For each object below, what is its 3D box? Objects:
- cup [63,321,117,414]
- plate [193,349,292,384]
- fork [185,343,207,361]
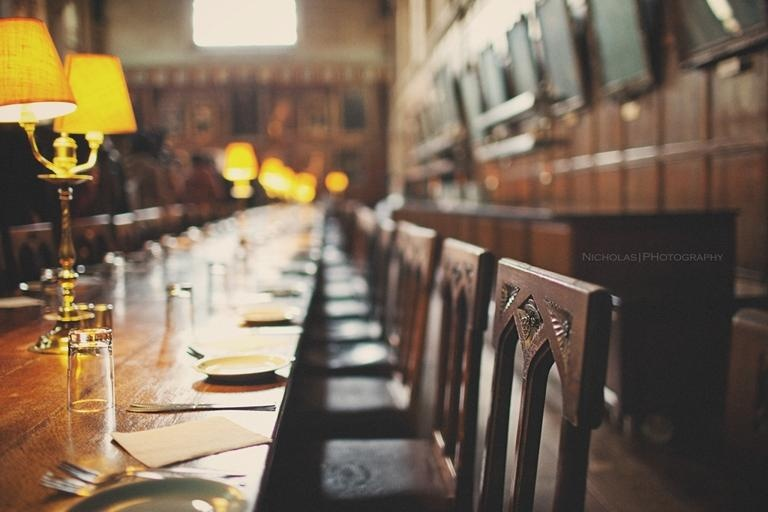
[{"bbox_3d":[-0.720,0.276,1.392,0.105,0.194,0.114,-1,6,0],"label":"cup"},{"bbox_3d":[-0.392,0.316,1.609,0.270,0.043,0.166,-3,6,-13],"label":"plate"},{"bbox_3d":[-0.583,0.302,1.753,0.009,0.033,0.117,-11,15,-42],"label":"fork"}]
